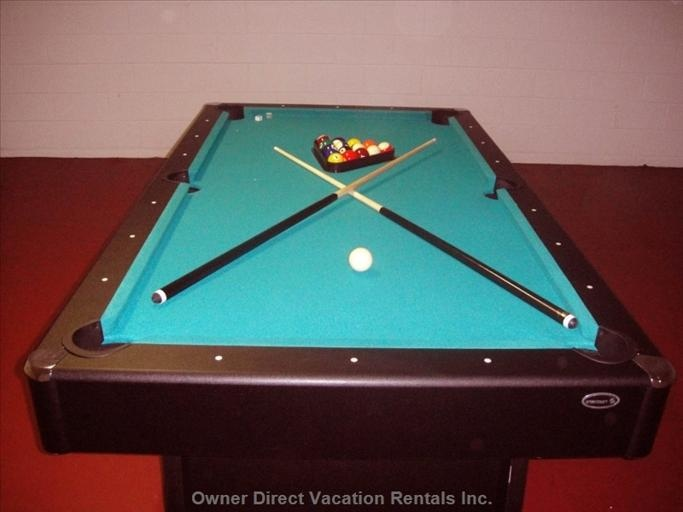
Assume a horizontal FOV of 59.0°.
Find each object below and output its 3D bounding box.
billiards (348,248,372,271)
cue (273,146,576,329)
[{"bbox_3d":[0.067,0.016,2.077,0.076,0.078,0.042,-4,-3,-2],"label":"billiards"},{"bbox_3d":[0.276,-0.065,2.286,1.443,0.054,0.060,35,0,30],"label":"cue"}]
